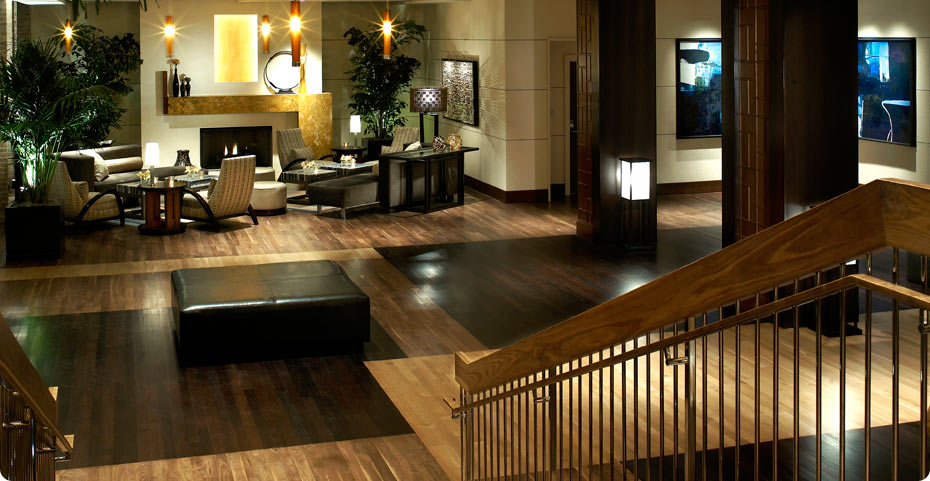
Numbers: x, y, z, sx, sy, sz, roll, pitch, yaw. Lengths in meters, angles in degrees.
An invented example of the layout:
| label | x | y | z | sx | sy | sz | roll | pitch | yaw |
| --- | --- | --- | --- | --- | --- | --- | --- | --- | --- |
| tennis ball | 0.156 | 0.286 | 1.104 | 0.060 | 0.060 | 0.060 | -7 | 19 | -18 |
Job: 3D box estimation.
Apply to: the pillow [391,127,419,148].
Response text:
| label | x | y | z | sx | sy | sz | roll | pitch | yaw |
| --- | --- | --- | --- | --- | --- | --- | --- | --- | --- |
| pillow | -1.371 | -2.564 | 15.526 | 0.627 | 0.559 | 0.187 | 10 | 1 | 22 |

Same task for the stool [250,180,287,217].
| label | x | y | z | sx | sy | sz | roll | pitch | yaw |
| --- | --- | --- | --- | --- | --- | --- | --- | --- | --- |
| stool | -4.106 | -0.902 | 13.567 | 0.725 | 0.564 | 0.707 | 2 | 4 | 9 |

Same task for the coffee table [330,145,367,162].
| label | x | y | z | sx | sy | sz | roll | pitch | yaw |
| --- | --- | --- | --- | --- | --- | --- | --- | --- | --- |
| coffee table | -2.806 | -2.322 | 16.296 | 0.629 | 0.321 | 0.612 | 0 | 5 | 2 |

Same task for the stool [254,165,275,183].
| label | x | y | z | sx | sy | sz | roll | pitch | yaw |
| --- | --- | --- | --- | --- | --- | --- | --- | --- | --- |
| stool | -4.958 | -1.720 | 15.986 | 0.448 | 0.269 | 0.430 | -2 | 5 | -18 |

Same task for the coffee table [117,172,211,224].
| label | x | y | z | sx | sy | sz | roll | pitch | yaw |
| --- | --- | --- | --- | --- | --- | --- | --- | --- | --- |
| coffee table | -6.315 | -0.600 | 13.089 | 1.264 | 0.841 | 1.851 | 5 | 12 | 27 |

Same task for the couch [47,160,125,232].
| label | x | y | z | sx | sy | sz | roll | pitch | yaw |
| --- | --- | --- | --- | --- | --- | --- | --- | --- | --- |
| couch | -7.334 | -0.770 | 12.211 | 1.809 | 1.421 | 0.913 | -1 | -2 | 5 |

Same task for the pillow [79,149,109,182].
| label | x | y | z | sx | sy | sz | roll | pitch | yaw |
| --- | --- | --- | --- | --- | --- | --- | --- | --- | --- |
| pillow | -8.106 | -1.703 | 13.840 | 0.236 | 0.754 | 0.675 | -15 | 9 | 9 |

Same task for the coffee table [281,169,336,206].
| label | x | y | z | sx | sy | sz | roll | pitch | yaw |
| --- | --- | --- | --- | --- | --- | --- | --- | --- | --- |
| coffee table | -3.652 | -1.369 | 14.595 | 0.921 | 0.632 | 1.389 | 7 | 12 | 30 |

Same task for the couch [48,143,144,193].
| label | x | y | z | sx | sy | sz | roll | pitch | yaw |
| --- | --- | --- | --- | --- | --- | --- | --- | --- | --- |
| couch | -7.963 | -1.709 | 14.206 | 1.073 | 0.948 | 2.383 | 5 | 14 | 14 |

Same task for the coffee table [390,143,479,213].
| label | x | y | z | sx | sy | sz | roll | pitch | yaw |
| --- | --- | --- | --- | --- | --- | --- | --- | --- | --- |
| coffee table | -0.905 | -1.353 | 14.187 | 1.662 | 1.479 | 1.948 | -10 | 20 | -30 |

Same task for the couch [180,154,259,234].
| label | x | y | z | sx | sy | sz | roll | pitch | yaw |
| --- | --- | --- | --- | --- | --- | --- | --- | --- | --- |
| couch | -4.684 | -0.980 | 12.550 | 1.287 | 1.558 | 0.948 | 3 | 6 | 19 |
